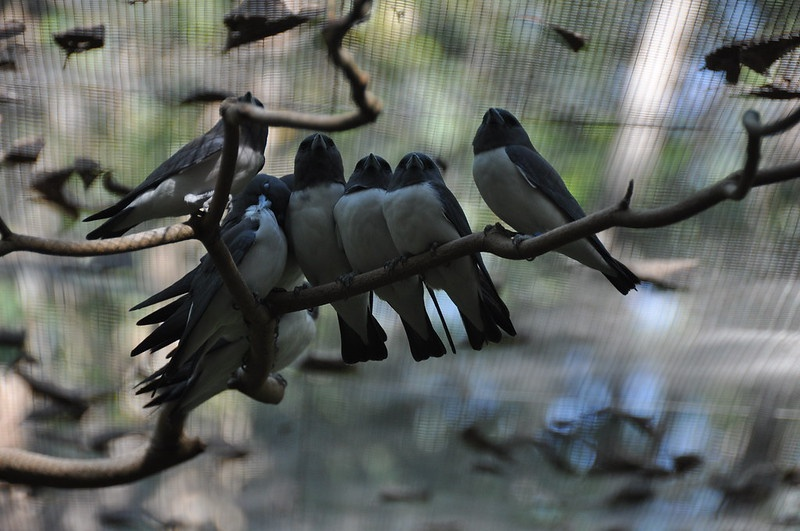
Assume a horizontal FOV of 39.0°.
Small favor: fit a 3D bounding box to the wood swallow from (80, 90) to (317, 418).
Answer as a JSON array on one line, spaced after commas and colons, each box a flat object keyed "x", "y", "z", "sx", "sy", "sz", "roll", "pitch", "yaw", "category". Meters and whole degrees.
[{"x": -0.572, "y": -0.038, "z": 3.239, "sx": 0.501, "sy": 0.776, "sz": 0.709, "roll": -9, "pitch": -41, "yaw": 11, "category": "wood swallow"}]

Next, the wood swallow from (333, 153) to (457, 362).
[{"x": -0.022, "y": -0.033, "z": 3.341, "sx": 0.252, "sy": 0.301, "sz": 0.701, "roll": -21, "pitch": -81, "yaw": 10, "category": "wood swallow"}]

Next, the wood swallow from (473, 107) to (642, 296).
[{"x": 0.455, "y": -0.185, "z": 3.319, "sx": 0.733, "sy": 0.357, "sz": 0.238, "roll": 24, "pitch": -22, "yaw": -20, "category": "wood swallow"}]
